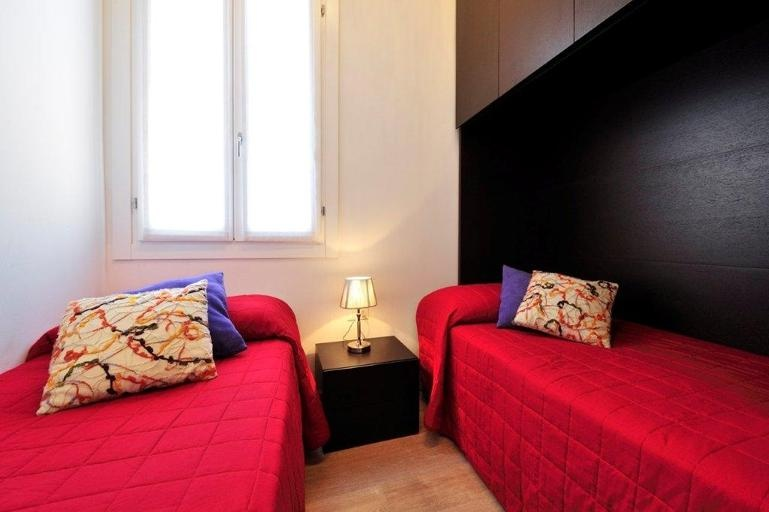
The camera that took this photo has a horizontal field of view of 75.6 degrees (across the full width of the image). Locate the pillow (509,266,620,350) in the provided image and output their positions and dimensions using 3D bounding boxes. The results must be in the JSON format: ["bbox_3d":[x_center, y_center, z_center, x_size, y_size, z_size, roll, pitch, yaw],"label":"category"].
[{"bbox_3d":[1.197,0.349,3.267,0.725,0.203,0.726,3,37,7],"label":"pillow"}]

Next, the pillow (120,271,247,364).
[{"bbox_3d":[-1.165,0.408,3.062,0.173,0.545,0.572,-34,-19,30],"label":"pillow"}]

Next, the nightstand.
[{"bbox_3d":[-0.131,0.826,3.485,0.810,0.585,0.593,-2,8,-14],"label":"nightstand"}]
